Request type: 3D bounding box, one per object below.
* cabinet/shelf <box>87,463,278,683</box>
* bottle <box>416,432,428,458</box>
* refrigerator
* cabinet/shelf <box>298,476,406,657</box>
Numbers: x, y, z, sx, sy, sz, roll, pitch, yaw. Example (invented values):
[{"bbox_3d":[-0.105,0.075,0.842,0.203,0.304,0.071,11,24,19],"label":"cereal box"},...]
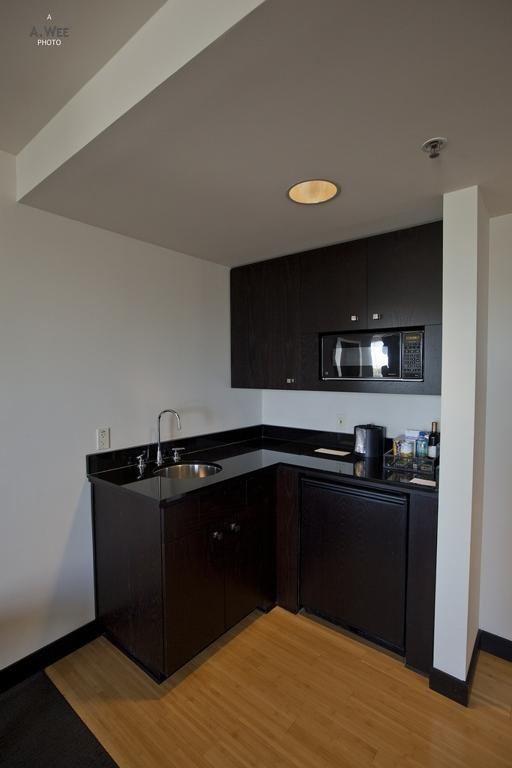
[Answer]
[{"bbox_3d":[-0.307,0.744,2.484,0.478,0.816,0.696,9,14,37],"label":"cabinet/shelf"},{"bbox_3d":[0.789,0.286,2.568,0.053,0.111,0.147,2,9,17],"label":"bottle"},{"bbox_3d":[0.482,0.815,2.715,0.544,0.983,0.527,-1,-3,42],"label":"refrigerator"},{"bbox_3d":[0.475,0.791,2.708,0.543,0.986,0.527,-1,-2,40],"label":"cabinet/shelf"}]
